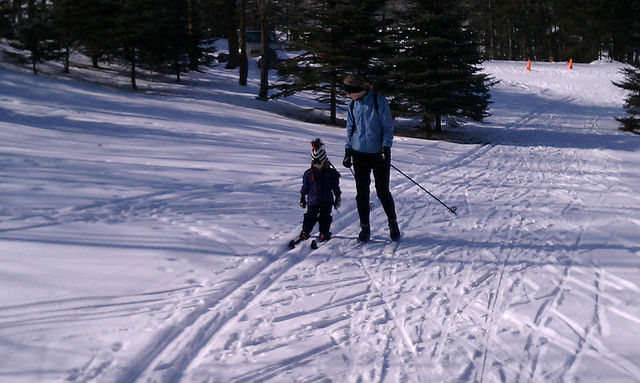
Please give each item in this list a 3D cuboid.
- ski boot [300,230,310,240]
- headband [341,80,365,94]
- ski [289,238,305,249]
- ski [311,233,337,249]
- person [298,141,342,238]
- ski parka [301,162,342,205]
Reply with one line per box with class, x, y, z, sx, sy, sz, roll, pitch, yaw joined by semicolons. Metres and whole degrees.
ski boot;-0.354;1.024;13.898;0.224;0.243;0.108;0;17;-4
headband;0.686;-2.352;13.475;0.593;0.207;0.303;14;21;38
ski;-0.582;1.210;13.770;0.191;0.077;0.225;38;26;17
ski;0.099;1.169;13.927;0.214;0.165;0.809;12;19;33
person;0.014;-0.031;13.749;0.921;2.270;0.483;1;17;0
ski parka;0.043;-0.166;13.908;1.178;1.074;0.559;2;-1;13
